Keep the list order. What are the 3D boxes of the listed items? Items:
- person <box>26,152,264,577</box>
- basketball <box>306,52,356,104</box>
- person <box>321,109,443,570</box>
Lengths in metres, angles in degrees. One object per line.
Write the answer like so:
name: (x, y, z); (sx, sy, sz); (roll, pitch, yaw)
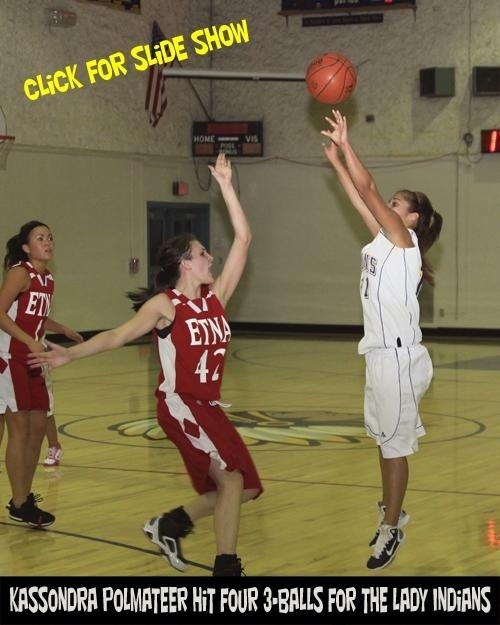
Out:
person: (-0.259, 0.286, 1.951); (0.533, 1.040, 0.482); (-1, 4, 13)
basketball: (0.616, -1.811, 4.839); (0.363, 0.394, 0.246); (-1, 4, 8)
person: (0.498, 0.063, 2.428); (0.474, 1.817, 0.756); (-1, 4, 17)
